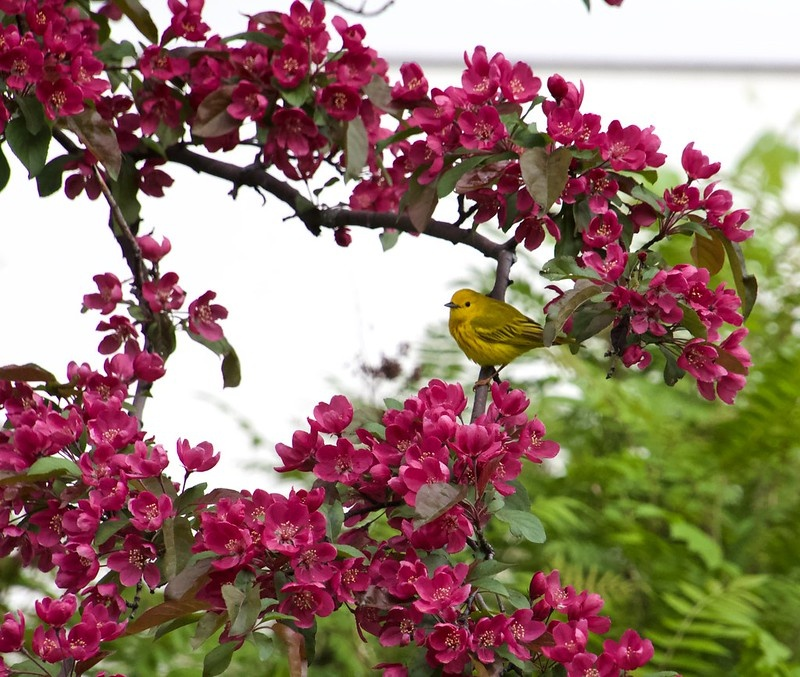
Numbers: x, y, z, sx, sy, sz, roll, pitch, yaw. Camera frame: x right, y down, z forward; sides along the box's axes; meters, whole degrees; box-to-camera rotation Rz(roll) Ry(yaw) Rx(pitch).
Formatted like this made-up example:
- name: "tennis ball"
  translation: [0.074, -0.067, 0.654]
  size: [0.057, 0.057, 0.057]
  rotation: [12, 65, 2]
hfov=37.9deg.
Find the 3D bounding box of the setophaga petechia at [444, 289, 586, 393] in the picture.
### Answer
- name: "setophaga petechia"
  translation: [0.299, -0.011, 3.341]
  size: [0.382, 0.277, 0.191]
  rotation: [-3, 4, -13]
